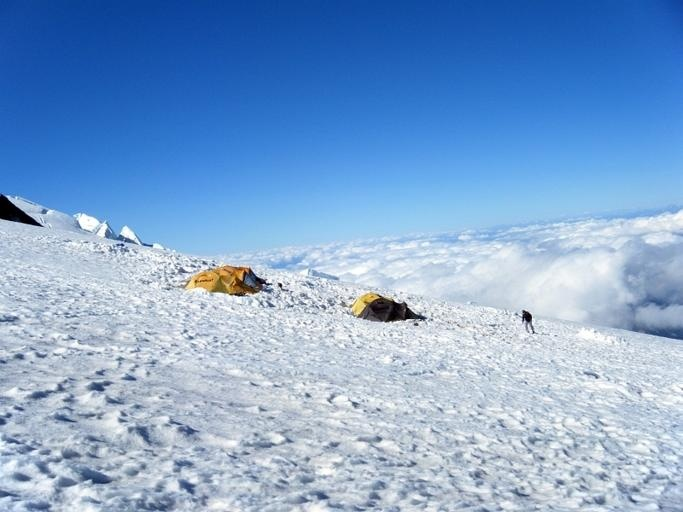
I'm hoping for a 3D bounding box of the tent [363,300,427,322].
[{"bbox_3d":[2.912,3.102,30.594,3.148,1.102,1.210,4,10,-27],"label":"tent"}]
